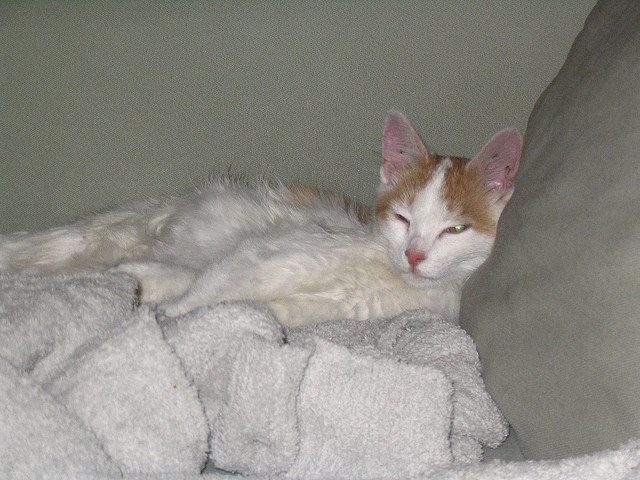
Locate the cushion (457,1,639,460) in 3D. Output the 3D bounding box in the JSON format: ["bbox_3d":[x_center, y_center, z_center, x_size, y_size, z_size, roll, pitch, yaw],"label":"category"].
[{"bbox_3d":[0.485,-0.018,1.640,0.465,0.180,0.805,9,82,19],"label":"cushion"}]

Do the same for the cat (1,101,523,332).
[{"bbox_3d":[-0.086,-0.053,1.847,0.850,0.271,0.356,4,30,34],"label":"cat"}]
